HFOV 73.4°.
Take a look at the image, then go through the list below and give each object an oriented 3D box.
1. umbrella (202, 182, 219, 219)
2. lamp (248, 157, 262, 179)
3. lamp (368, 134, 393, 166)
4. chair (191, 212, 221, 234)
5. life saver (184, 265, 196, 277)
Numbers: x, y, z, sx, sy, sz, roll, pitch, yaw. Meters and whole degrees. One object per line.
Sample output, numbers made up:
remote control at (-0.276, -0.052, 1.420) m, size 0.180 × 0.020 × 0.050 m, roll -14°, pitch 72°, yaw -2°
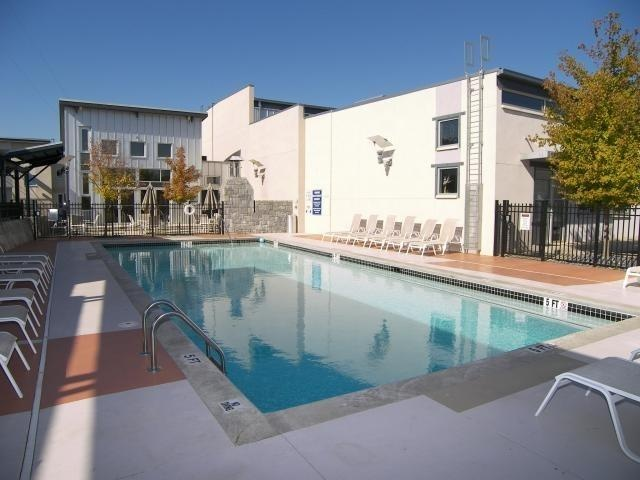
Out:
umbrella at (-5.789, -2.100, 22.737) m, size 0.788 × 1.782 × 4.188 m, roll -2°, pitch 8°, yaw -15°
lamp at (-3.761, -4.317, 25.866) m, size 0.483 × 1.111 × 1.636 m, roll -4°, pitch 9°, yaw -27°
lamp at (2.492, -3.697, 17.567) m, size 0.425 × 1.201 × 1.225 m, roll -5°, pitch 9°, yaw -37°
chair at (-5.959, -0.912, 22.701) m, size 1.325 × 0.923 × 1.397 m, roll 2°, pitch 4°, yaw 18°
life saver at (-3.708, 0.888, 12.314) m, size 0.299 × 0.381 × 0.313 m, roll 1°, pitch -1°, yaw -16°
